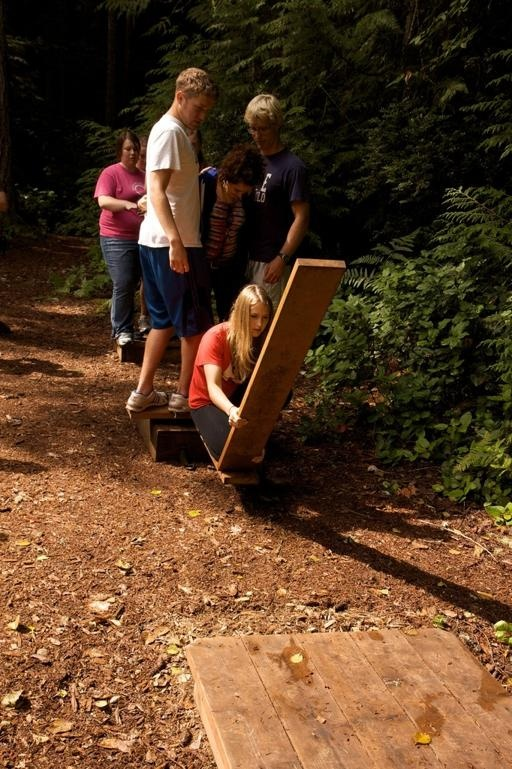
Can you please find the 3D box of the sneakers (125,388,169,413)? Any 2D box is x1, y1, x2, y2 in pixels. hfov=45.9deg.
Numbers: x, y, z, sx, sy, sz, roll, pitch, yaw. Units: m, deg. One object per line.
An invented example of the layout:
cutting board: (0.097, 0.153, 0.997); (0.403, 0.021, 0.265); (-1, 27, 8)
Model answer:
sneakers: (-0.702, 0.089, 3.885); (0.118, 0.113, 0.272); (8, 14, 32)

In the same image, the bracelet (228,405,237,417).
bracelet: (-0.120, 0.138, 2.950); (0.041, 0.037, 0.031); (1, 6, -32)

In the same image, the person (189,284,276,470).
person: (-0.166, -0.064, 3.199); (0.382, 0.938, 0.651); (10, 16, -2)

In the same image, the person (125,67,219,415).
person: (-0.451, -0.719, 3.449); (0.482, 2.002, 0.555); (7, 17, -12)

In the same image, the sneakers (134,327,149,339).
sneakers: (-1.195, -0.530, 6.340); (0.125, 0.105, 0.205); (-4, -4, -32)

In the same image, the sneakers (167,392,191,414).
sneakers: (-0.497, 0.125, 3.802); (0.083, 0.081, 0.166); (3, 9, 7)
